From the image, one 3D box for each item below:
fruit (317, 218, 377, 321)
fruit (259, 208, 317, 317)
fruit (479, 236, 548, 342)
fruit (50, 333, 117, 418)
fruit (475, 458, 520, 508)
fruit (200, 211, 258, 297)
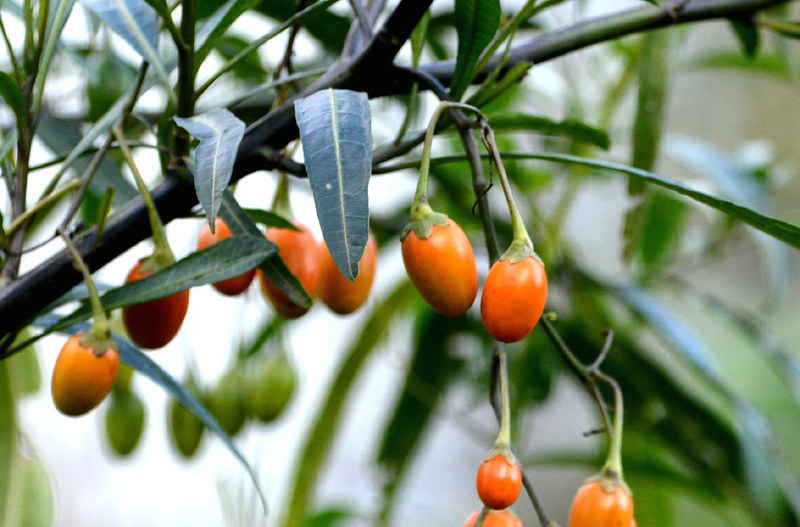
[{"bbox_3d":[-0.053,0.012,0.808,0.062,0.073,0.109,-1,-7,-15],"label":"fruit"},{"bbox_3d":[-0.094,-0.004,0.763,0.052,0.109,0.107,-1,-48,-9],"label":"fruit"},{"bbox_3d":[0.089,0.024,0.701,0.048,0.084,0.047,4,10,-36],"label":"fruit"},{"bbox_3d":[-0.251,0.089,0.710,0.045,0.049,0.076,9,-67,-31],"label":"fruit"},{"bbox_3d":[0.075,0.170,0.681,0.034,0.047,0.036,3,1,18],"label":"fruit"},{"bbox_3d":[-0.143,0.000,0.766,0.046,0.062,0.048,4,-7,-19],"label":"fruit"}]
